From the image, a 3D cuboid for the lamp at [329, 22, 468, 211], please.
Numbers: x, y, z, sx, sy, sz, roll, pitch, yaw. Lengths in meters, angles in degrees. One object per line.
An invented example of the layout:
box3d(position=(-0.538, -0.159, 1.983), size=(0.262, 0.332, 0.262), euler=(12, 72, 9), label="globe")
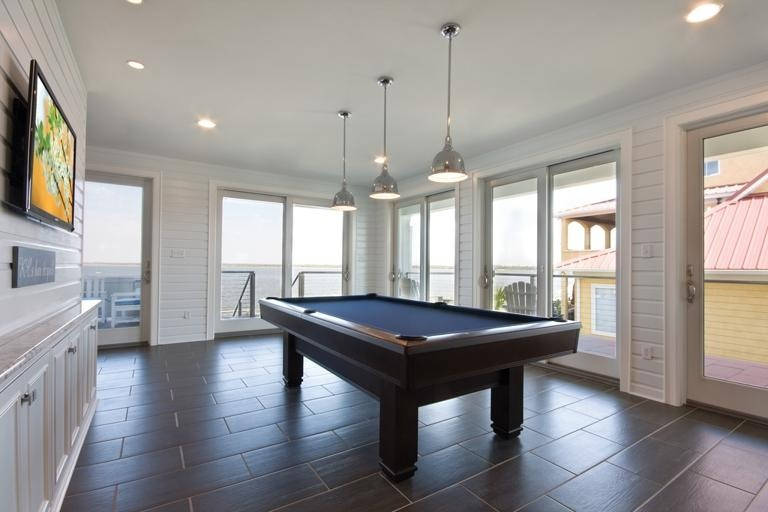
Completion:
box3d(position=(0.181, -1.604, 5.323), size=(0.365, 1.127, 1.494), euler=(0, -1, -41), label="lamp")
